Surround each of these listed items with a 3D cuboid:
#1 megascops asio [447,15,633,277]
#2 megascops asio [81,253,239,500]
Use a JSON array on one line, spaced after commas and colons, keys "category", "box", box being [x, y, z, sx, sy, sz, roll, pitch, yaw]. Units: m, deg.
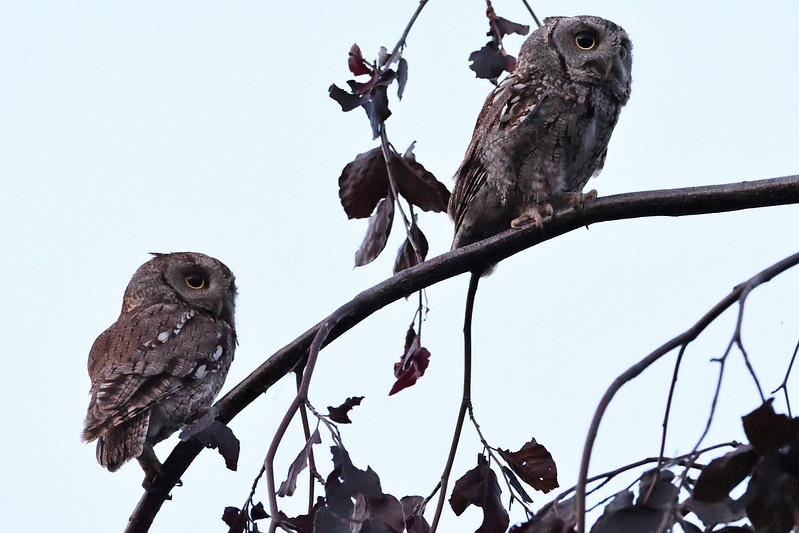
[{"category": "megascops asio", "box": [0.590, -0.569, 5.010, 0.828, 0.735, 0.502, -15, -52, 17]}, {"category": "megascops asio", "box": [-1.093, 0.464, 5.398, 0.614, 1.552, 0.476, 10, -48, -4]}]
